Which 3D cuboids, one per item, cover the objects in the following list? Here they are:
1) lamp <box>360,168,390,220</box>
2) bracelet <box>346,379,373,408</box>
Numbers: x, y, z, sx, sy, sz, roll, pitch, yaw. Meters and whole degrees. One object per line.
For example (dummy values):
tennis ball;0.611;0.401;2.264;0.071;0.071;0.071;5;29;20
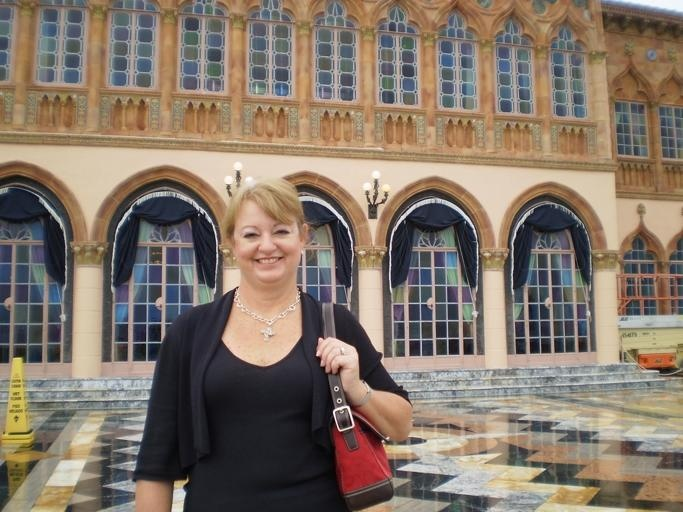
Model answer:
lamp;0.881;-1.562;18.763;0.694;1.119;0.605;5;-8;-15
bracelet;0.195;1.242;6.327;0.186;0.248;0.092;-1;12;-2
